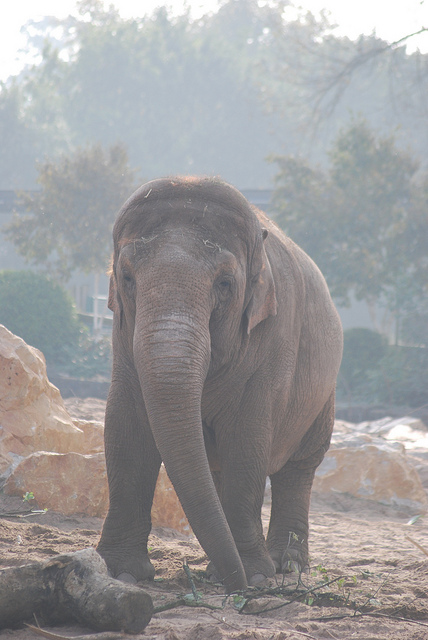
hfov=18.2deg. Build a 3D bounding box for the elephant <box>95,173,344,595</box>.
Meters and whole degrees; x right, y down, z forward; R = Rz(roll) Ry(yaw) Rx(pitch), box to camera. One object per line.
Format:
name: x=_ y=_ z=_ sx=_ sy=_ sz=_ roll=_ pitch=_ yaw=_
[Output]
elephant: x=0.001 y=0.795 z=15.506 sx=2.410 sy=4.375 sz=5.595 roll=3 pitch=-7 yaw=16
